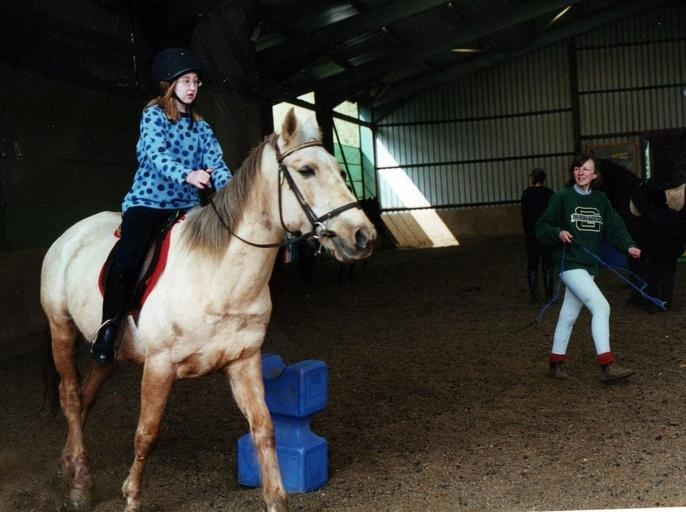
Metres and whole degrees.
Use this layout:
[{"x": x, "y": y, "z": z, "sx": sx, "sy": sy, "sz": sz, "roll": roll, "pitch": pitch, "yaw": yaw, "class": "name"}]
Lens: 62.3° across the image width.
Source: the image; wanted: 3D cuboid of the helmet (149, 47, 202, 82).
[{"x": -0.995, "y": -1.105, "z": 3.399, "sx": 0.250, "sy": 0.204, "sz": 0.196, "roll": 19, "pitch": 15, "yaw": 19, "class": "helmet"}]

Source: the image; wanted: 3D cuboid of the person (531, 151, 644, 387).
[{"x": 2.052, "y": 0.134, "z": 4.803, "sx": 0.755, "sy": 1.934, "sz": 0.547, "roll": 0, "pitch": 6, "yaw": 28, "class": "person"}]

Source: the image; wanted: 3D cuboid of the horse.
[{"x": -0.910, "y": 0.385, "z": 3.332, "sx": 2.250, "sy": 2.308, "sz": 0.818, "roll": 1, "pitch": 7, "yaw": 35, "class": "horse"}]

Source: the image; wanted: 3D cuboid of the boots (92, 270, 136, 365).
[{"x": -1.306, "y": 0.364, "z": 3.266, "sx": 0.181, "sy": 0.636, "sz": 0.258, "roll": 5, "pitch": 12, "yaw": -7, "class": "boots"}]
